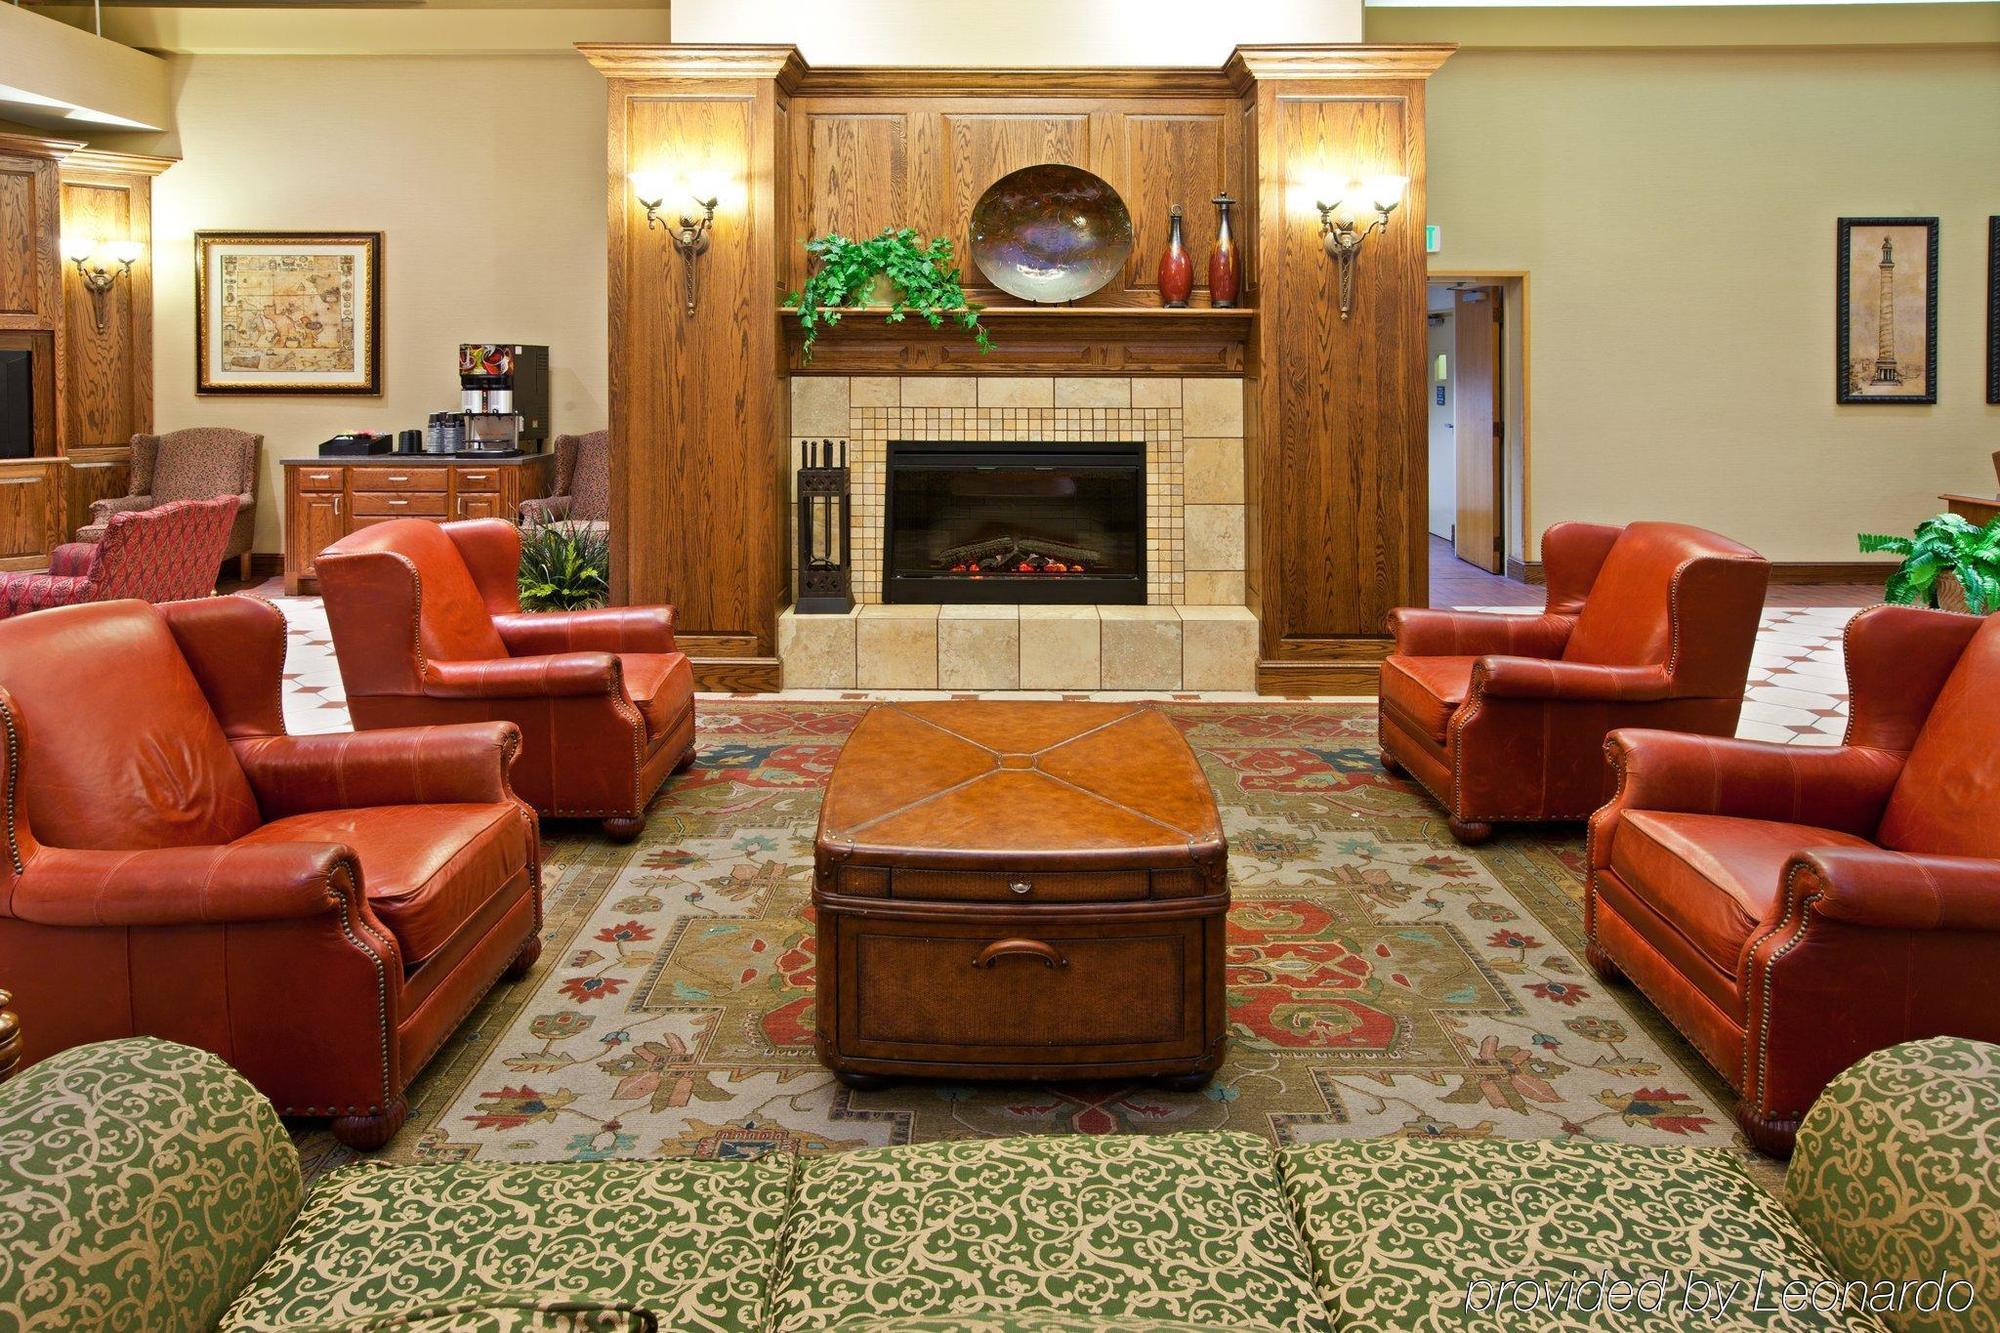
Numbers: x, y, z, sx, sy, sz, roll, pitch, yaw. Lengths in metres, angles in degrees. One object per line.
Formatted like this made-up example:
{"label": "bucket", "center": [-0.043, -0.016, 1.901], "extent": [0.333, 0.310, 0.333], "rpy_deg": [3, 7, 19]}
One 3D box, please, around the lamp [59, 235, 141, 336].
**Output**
{"label": "lamp", "center": [-6.915, -2.976, 10.702], "extent": [0.493, 0.696, 0.146], "rpy_deg": [-10, 18, -33]}

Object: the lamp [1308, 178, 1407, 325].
{"label": "lamp", "center": [1.855, -2.200, 7.225], "extent": [0.467, 0.720, 0.180], "rpy_deg": [2, 16, 7]}

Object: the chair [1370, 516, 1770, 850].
{"label": "chair", "center": [2.127, 0.013, 5.408], "extent": [1.446, 1.129, 1.401], "rpy_deg": [0, 9, 5]}

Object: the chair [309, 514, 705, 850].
{"label": "chair", "center": [-1.757, -0.033, 5.369], "extent": [1.458, 1.092, 1.364], "rpy_deg": [0, 9, -4]}

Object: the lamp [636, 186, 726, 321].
{"label": "lamp", "center": [-1.659, -2.161, 7.196], "extent": [0.432, 0.638, 0.176], "rpy_deg": [-2, 16, -8]}

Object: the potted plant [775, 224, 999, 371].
{"label": "potted plant", "center": [-0.599, -2.035, 7.488], "extent": [1.098, 0.671, 0.364], "rpy_deg": [-1, 15, -4]}
